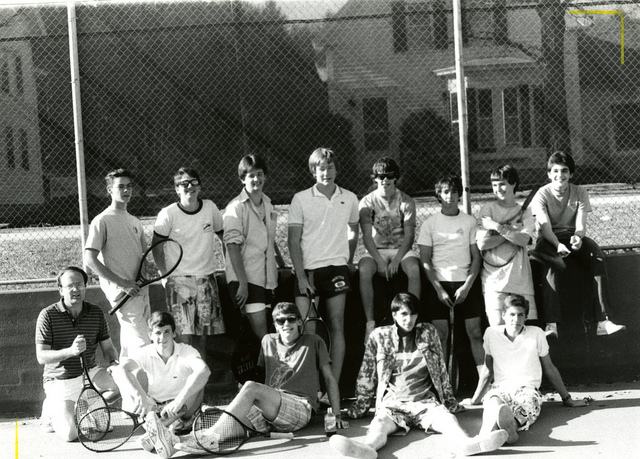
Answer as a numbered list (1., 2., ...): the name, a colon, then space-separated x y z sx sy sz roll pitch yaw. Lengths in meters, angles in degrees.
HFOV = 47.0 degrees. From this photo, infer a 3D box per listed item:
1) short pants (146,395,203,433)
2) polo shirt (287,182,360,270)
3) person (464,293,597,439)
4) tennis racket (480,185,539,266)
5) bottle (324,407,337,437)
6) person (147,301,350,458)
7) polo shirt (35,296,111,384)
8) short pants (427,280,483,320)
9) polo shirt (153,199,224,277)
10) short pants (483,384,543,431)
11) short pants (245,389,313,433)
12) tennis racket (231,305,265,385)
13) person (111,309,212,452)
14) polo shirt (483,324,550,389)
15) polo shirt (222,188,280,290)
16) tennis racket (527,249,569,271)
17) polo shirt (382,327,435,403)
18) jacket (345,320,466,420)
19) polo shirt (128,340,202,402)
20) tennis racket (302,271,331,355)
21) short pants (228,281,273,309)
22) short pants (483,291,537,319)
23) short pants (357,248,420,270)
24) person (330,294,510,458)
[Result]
1. short pants: -1.221 1.536 6.091 0.394 0.185 0.128 42 -15 -23
2. polo shirt: -0.020 0.023 7.136 0.884 1.106 0.609 0 -4 -14
3. person: 1.711 1.232 6.398 1.010 0.810 1.097 -5 -6 16
4. tennis racket: 1.836 0.020 7.066 0.424 0.752 0.106 37 -7 -2
5. bottle: 0.088 1.635 6.279 0.111 0.155 0.213 -4 2 -1
6. person: -0.554 1.249 6.263 0.941 1.162 1.593 -8 -10 34
7. polo shirt: -2.198 1.005 6.510 0.761 0.917 0.435 1 -4 -32
8. short pants: 1.280 0.713 6.970 0.524 0.492 0.337 -1 -3 1
9. polo shirt: -1.186 0.072 6.883 0.648 0.741 0.408 -5 19 -8
10. short pants: 1.654 1.502 6.349 0.432 0.264 0.813 -3 11 17
11. short pants: -0.324 1.639 6.544 0.390 0.292 0.702 13 -18 -23
12. tennis racket: -0.643 1.052 6.648 0.363 0.669 0.143 2 -6 -35
13. person: -1.326 1.242 6.254 0.801 1.137 1.042 -1 -6 0
14. polo shirt: 1.751 1.145 6.541 0.559 0.610 0.336 -4 -1 20
15. polo shirt: -0.648 0.120 6.849 0.443 1.037 0.766 -11 -12 41
16. tennis racket: 2.178 0.248 7.002 0.284 0.098 0.176 23 34 28
17. polo shirt: 0.804 1.154 6.425 0.501 0.696 0.361 -4 21 12
18. jacket: 0.746 1.261 6.494 0.754 0.706 0.247 0 -12 -1
19. polo shirt: -1.325 1.253 6.326 0.614 0.581 0.383 -2 7 -4
20. tennis racket: -0.029 0.776 6.849 0.242 0.515 0.658 -3 2 6
21. short pants: -0.655 0.621 6.860 0.441 0.303 0.339 6 -1 -19
22. short pants: 1.760 0.665 6.865 0.421 0.356 0.253 0 -9 2
23. short pants: 0.655 0.262 7.055 0.591 0.177 0.266 -4 2 0
24. person: 0.843 1.116 6.315 1.033 1.068 1.383 -1 2 0
